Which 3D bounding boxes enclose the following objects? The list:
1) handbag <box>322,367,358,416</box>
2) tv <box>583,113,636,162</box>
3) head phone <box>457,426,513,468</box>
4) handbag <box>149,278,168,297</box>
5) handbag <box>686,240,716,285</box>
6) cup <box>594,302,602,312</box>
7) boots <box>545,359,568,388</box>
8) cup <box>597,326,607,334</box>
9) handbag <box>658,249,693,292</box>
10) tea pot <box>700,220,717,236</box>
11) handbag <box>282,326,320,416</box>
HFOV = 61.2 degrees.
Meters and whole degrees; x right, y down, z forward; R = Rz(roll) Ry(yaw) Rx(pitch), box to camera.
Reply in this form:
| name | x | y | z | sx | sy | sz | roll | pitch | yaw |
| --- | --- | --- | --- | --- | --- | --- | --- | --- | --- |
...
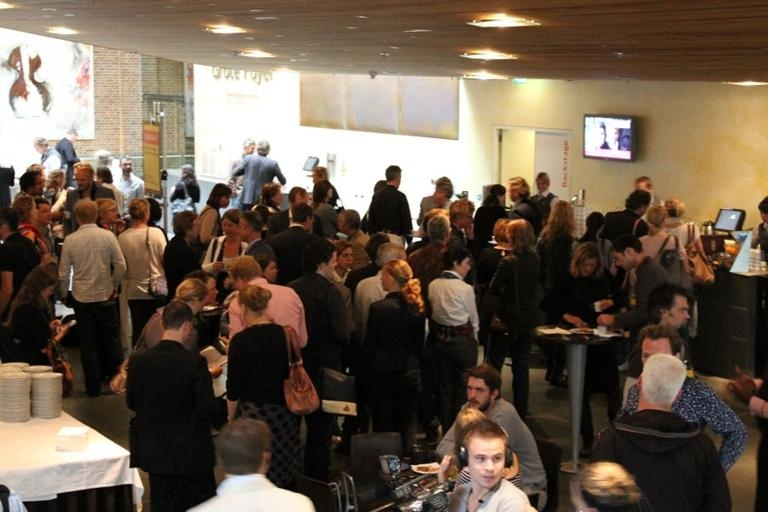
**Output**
| name | x | y | z | sx | sy | sz | roll | pitch | yaw |
| --- | --- | --- | --- | --- | --- | --- | --- | --- | --- |
| handbag | -0.399 | 1.183 | 5.529 | 0.288 | 0.420 | 0.251 | -2 | 10 | -5 |
| tv | 4.167 | -2.173 | 11.953 | 0.149 | 0.862 | 1.247 | -12 | 18 | -26 |
| head phone | 0.522 | 1.017 | 3.425 | 0.356 | 0.274 | 0.132 | 0 | 1 | -3 |
| handbag | -2.636 | 0.378 | 7.581 | 0.250 | 0.218 | 0.095 | 13 | -9 | -26 |
| handbag | 4.054 | 0.109 | 8.343 | 0.338 | 0.639 | 0.576 | -20 | -7 | 22 |
| cup | 2.159 | 0.516 | 6.579 | 0.067 | 0.118 | 0.138 | 1 | 9 | 9 |
| boots | 2.157 | 1.508 | 8.123 | 0.406 | 0.347 | 0.186 | -2 | 6 | -2 |
| cup | 2.055 | 0.700 | 6.127 | 0.067 | 0.051 | 0.067 | 0 | -9 | 0 |
| handbag | 3.083 | 0.157 | 6.907 | 0.231 | 0.385 | 0.372 | -28 | 15 | 7 |
| tea pot | 5.214 | -0.452 | 10.469 | 0.286 | 0.250 | 0.203 | 0 | 2 | 10 |
| handbag | -0.646 | 0.900 | 4.984 | 0.256 | 0.716 | 0.246 | -2 | 10 | -4 |
